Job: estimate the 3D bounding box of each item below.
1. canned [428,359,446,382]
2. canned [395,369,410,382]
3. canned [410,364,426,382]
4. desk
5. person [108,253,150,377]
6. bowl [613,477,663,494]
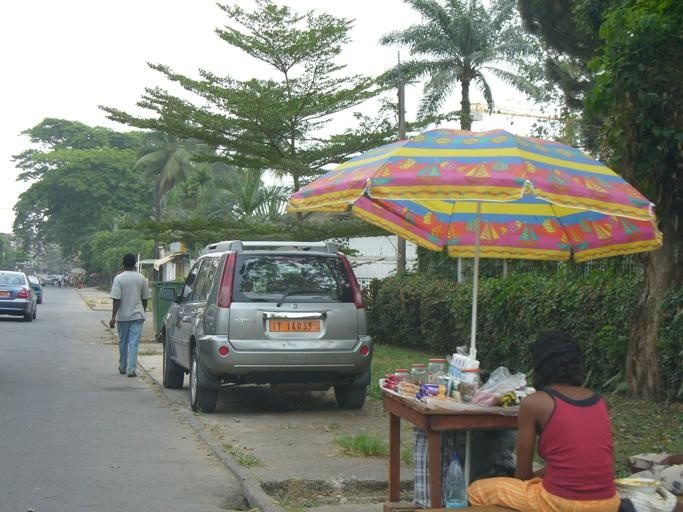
[{"bbox_3d":[0.821,0.996,7.300,0.152,0.192,0.276,2,-5,6],"label":"canned"},{"bbox_3d":[0.524,1.050,7.410,0.096,0.100,0.100,-1,-4,23],"label":"canned"},{"bbox_3d":[0.654,1.013,7.335,0.134,0.216,0.139,1,2,3],"label":"canned"},{"bbox_3d":[0.966,1.514,7.164,1.067,1.058,0.930,3,-7,-31],"label":"desk"},{"bbox_3d":[-3.835,1.071,15.213,0.662,2.207,1.127,3,-4,-15],"label":"person"},{"bbox_3d":[2.199,1.723,6.316,0.405,0.083,0.244,4,-5,-12],"label":"bowl"}]
